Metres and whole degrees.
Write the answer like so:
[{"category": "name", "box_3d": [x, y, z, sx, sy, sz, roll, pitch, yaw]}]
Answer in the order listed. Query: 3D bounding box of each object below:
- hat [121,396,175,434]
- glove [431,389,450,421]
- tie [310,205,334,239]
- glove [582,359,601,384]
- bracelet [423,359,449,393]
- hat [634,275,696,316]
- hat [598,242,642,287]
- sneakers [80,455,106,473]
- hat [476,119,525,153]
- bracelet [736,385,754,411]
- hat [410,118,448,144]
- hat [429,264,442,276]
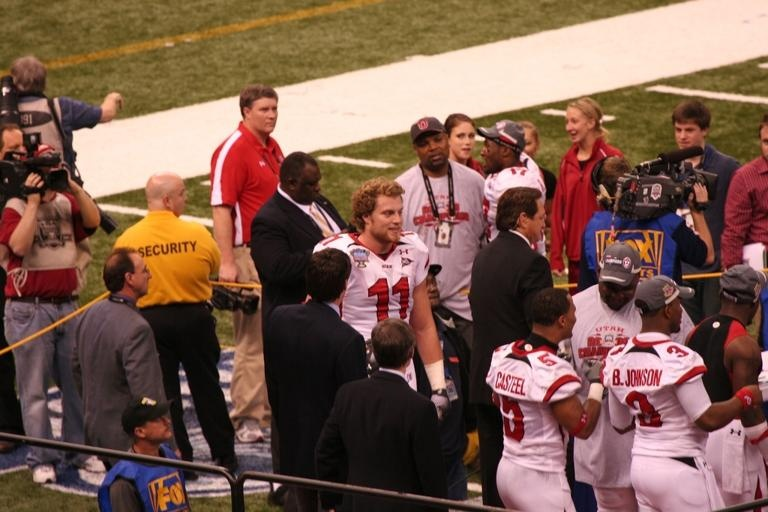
[{"category": "hat", "box_3d": [-1.937, 1.287, 11.027, 0.392, 0.186, 0.236, -28, 10, -2]}, {"category": "glove", "box_3d": [0.472, 1.219, 11.072, 0.108, 0.275, 0.125, -5, -7, 0]}, {"category": "tie", "box_3d": [-0.542, -0.299, 11.802, 0.060, 0.359, 0.043, -33, 7, 7]}, {"category": "glove", "box_3d": [1.702, 0.928, 10.848, 0.160, 0.188, 0.074, -2, -9, 19]}, {"category": "bracelet", "box_3d": [0.426, 0.996, 11.162, 0.122, 0.346, 0.098, -9, -37, -25]}, {"category": "hat", "box_3d": [2.224, 0.288, 10.656, 0.459, 0.224, 0.271, -19, 14, -5]}, {"category": "hat", "box_3d": [1.925, 0.060, 10.889, 0.278, 0.192, 0.395, 10, 26, 15]}, {"category": "sneakers", "box_3d": [-2.347, 1.679, 10.842, 0.168, 0.057, 0.210, 19, -4, 19]}, {"category": "hat", "box_3d": [1.087, -1.129, 12.413, 0.416, 0.193, 0.261, 19, 4, -4]}, {"category": "bracelet", "box_3d": [2.837, 1.099, 10.418, 0.125, 0.148, 0.161, 22, -13, -36]}, {"category": "hat", "box_3d": [0.410, -1.161, 12.220, 0.294, 0.222, 0.269, -7, 3, -9]}, {"category": "hat", "box_3d": [0.445, 0.116, 11.617, 0.109, 0.099, 0.198, -6, 3, 1]}]
